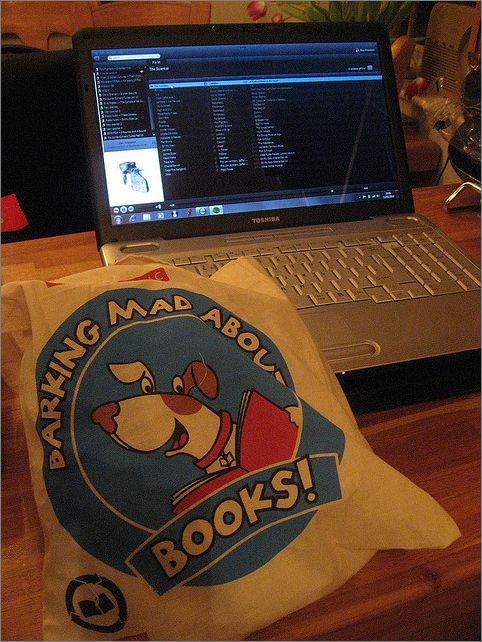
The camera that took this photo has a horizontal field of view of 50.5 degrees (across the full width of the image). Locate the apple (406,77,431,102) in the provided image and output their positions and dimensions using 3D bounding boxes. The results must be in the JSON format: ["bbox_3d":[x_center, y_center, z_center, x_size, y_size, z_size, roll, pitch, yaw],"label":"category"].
[{"bbox_3d":[0.495,-0.627,1.408,0.045,0.064,0.023,-43,59,-12],"label":"apple"}]
